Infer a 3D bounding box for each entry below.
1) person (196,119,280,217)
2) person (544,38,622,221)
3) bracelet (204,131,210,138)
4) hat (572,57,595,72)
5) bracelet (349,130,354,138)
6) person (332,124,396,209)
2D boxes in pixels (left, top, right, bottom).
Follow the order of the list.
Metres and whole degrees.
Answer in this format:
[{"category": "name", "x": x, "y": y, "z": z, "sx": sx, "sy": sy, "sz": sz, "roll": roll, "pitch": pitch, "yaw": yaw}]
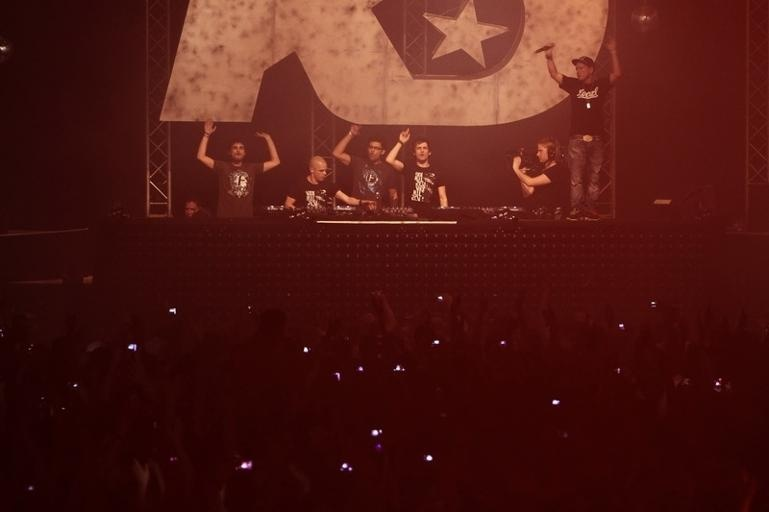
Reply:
[{"category": "person", "x": -1.429, "y": -0.868, "z": 7.841, "sx": 0.767, "sy": 1.673, "sz": 0.289, "roll": 0, "pitch": -1, "yaw": -18}, {"category": "person", "x": 1.879, "y": -1.090, "z": 7.345, "sx": 0.698, "sy": 2.061, "sz": 0.957, "roll": -4, "pitch": -31, "yaw": 13}, {"category": "bracelet", "x": -1.714, "y": -1.187, "z": 7.604, "sx": 0.040, "sy": 0.049, "sz": 0.046, "roll": 4, "pitch": 4, "yaw": 12}, {"category": "hat", "x": 1.888, "y": -1.848, "z": 7.486, "sx": 0.169, "sy": 0.099, "sz": 0.128, "roll": 24, "pitch": 11, "yaw": 2}, {"category": "bracelet", "x": -0.315, "y": -1.200, "z": 7.646, "sx": 0.051, "sy": 0.062, "sz": 0.032, "roll": 1, "pitch": -2, "yaw": -39}, {"category": "person", "x": -0.176, "y": -0.891, "z": 7.825, "sx": 0.659, "sy": 1.309, "sz": 0.313, "roll": -1, "pitch": -2, "yaw": 5}]
